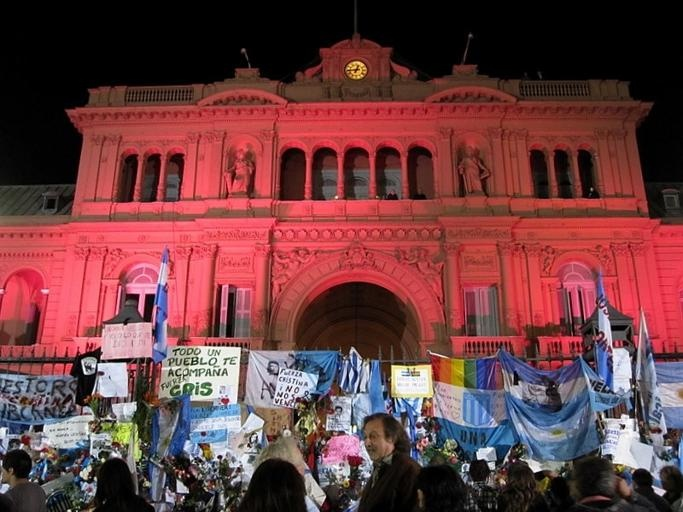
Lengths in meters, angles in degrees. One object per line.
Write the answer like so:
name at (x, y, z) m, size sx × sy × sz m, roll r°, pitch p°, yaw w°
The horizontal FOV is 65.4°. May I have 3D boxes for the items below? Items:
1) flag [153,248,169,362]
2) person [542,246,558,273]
flag at (-5.220, 1.451, 15.559) m, size 0.489 × 3.278 × 1.716 m, roll 6°, pitch -20°, yaw -18°
person at (11.194, 0.204, 28.639) m, size 0.817 × 1.489 × 0.202 m, roll 0°, pitch -19°, yaw -1°
